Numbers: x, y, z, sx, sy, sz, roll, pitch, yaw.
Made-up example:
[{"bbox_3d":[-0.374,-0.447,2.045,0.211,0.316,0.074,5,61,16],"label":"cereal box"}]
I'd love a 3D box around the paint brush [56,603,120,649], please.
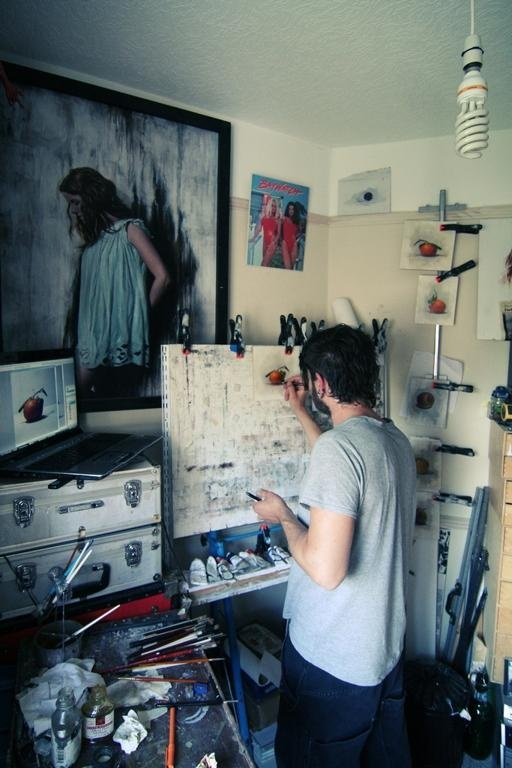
[{"bbox_3d":[-0.450,0.641,1.536,0.142,0.013,0.048,-36,29,7],"label":"paint brush"}]

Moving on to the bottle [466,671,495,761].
[{"bbox_3d":[0.849,1.238,2.193,0.104,0.310,0.119,2,8,9],"label":"bottle"}]

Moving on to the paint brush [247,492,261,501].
[{"bbox_3d":[-0.008,0.374,1.940,0.031,0.026,0.103,-6,-3,-8],"label":"paint brush"}]

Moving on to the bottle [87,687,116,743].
[{"bbox_3d":[-0.345,0.697,1.284,0.065,0.106,0.130,-1,8,-15],"label":"bottle"}]
